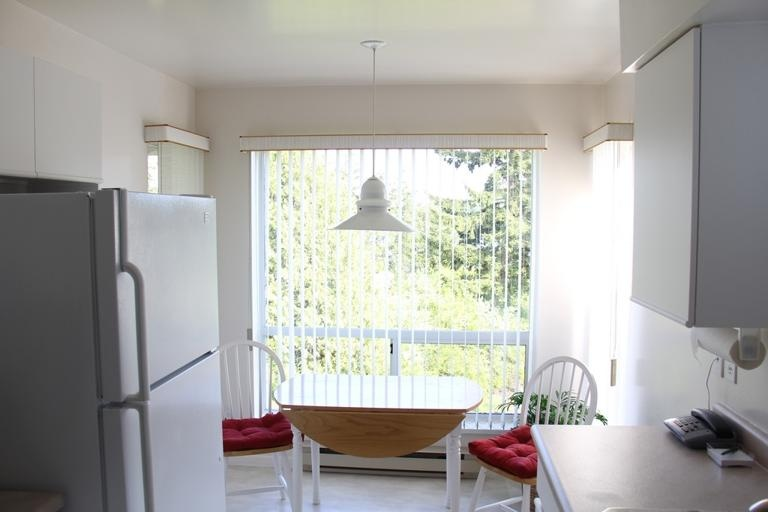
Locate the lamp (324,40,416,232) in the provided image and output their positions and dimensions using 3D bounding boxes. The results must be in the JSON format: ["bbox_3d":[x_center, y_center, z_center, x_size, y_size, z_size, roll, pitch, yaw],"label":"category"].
[{"bbox_3d":[-0.086,-0.763,4.102,0.487,0.938,1.232,1,-1,-3],"label":"lamp"}]

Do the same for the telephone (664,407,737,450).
[{"bbox_3d":[1.542,0.834,2.868,0.237,0.108,0.328,-4,-1,13],"label":"telephone"}]
